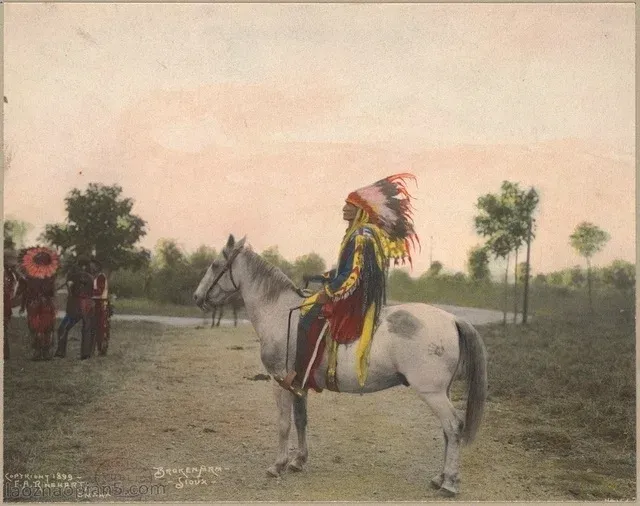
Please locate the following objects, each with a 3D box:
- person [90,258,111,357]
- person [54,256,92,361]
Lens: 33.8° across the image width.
[{"bbox_3d":[-2.611,0.646,12.608,0.267,1.133,0.183,4,-4,-28],"label":"person"},{"bbox_3d":[-2.905,0.658,12.464,0.385,1.152,0.180,3,-3,-14],"label":"person"}]
